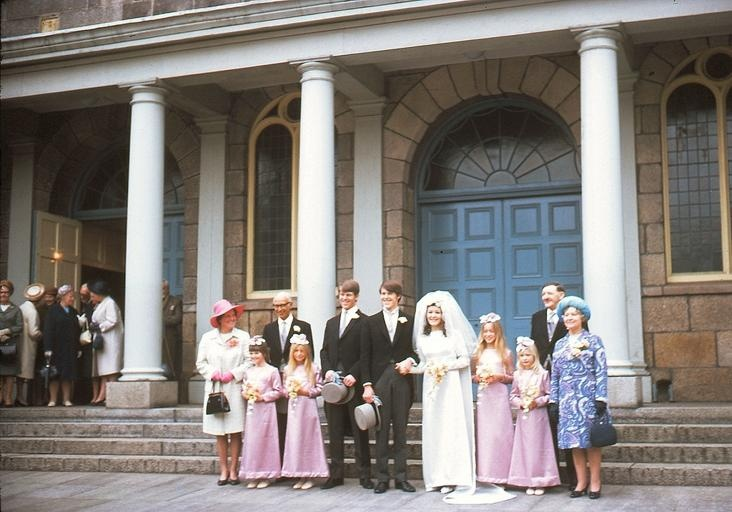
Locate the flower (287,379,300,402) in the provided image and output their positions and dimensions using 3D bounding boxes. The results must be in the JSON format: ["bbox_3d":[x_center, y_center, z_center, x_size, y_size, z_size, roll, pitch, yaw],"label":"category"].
[{"bbox_3d":[-0.920,1.656,12.069,0.199,0.246,0.209,13,-20,-40],"label":"flower"}]

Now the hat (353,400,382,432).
[{"bbox_3d":[-0.026,1.927,11.829,0.352,0.397,0.337,-8,-11,36],"label":"hat"}]

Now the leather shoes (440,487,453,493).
[{"bbox_3d":[0.964,2.805,11.628,0.053,0.066,0.166,5,10,34],"label":"leather shoes"}]

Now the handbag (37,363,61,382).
[{"bbox_3d":[-5.023,1.822,15.282,0.260,0.247,0.267,6,24,10],"label":"handbag"}]

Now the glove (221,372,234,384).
[{"bbox_3d":[-1.761,1.538,12.274,0.155,0.133,0.074,-1,-9,-5],"label":"glove"}]

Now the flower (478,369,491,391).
[{"bbox_3d":[1.428,1.508,11.721,0.143,0.269,0.217,-2,-9,1],"label":"flower"}]

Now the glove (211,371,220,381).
[{"bbox_3d":[-1.905,1.511,12.193,0.091,0.100,0.108,1,-13,-1],"label":"glove"}]

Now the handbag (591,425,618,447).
[{"bbox_3d":[2.719,2.053,11.100,0.295,0.246,0.152,2,-12,-37],"label":"handbag"}]

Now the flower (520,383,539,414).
[{"bbox_3d":[1.945,1.702,11.582,0.209,0.324,0.089,-6,-10,27],"label":"flower"}]

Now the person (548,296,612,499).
[{"bbox_3d":[2.514,1.653,11.440,0.668,2.344,0.501,-3,-9,12],"label":"person"}]

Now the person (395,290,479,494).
[{"bbox_3d":[0.949,1.630,11.763,0.831,2.416,0.411,-2,-9,5],"label":"person"}]

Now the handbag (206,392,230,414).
[{"bbox_3d":[-1.869,1.845,12.139,0.231,0.254,0.104,-4,-16,10],"label":"handbag"}]

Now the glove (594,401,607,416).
[{"bbox_3d":[2.724,1.761,11.226,0.146,0.158,0.146,-1,-5,37],"label":"glove"}]

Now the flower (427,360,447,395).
[{"bbox_3d":[0.868,1.447,11.758,0.217,0.358,0.311,9,14,6],"label":"flower"}]

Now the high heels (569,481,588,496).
[{"bbox_3d":[2.496,2.748,11.339,0.088,0.120,0.270,-13,-22,35],"label":"high heels"}]

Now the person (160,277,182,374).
[{"bbox_3d":[-3.305,1.265,16.497,0.282,1.649,0.506,-10,-13,43],"label":"person"}]

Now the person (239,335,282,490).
[{"bbox_3d":[-1.332,1.964,12.260,0.530,1.882,0.373,0,-9,-10],"label":"person"}]

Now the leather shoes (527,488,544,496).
[{"bbox_3d":[2.020,2.792,11.499,0.219,0.078,0.134,-2,-9,2],"label":"leather shoes"}]

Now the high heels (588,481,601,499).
[{"bbox_3d":[2.667,2.716,11.316,0.141,0.195,0.208,-3,-9,11],"label":"high heels"}]

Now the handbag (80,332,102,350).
[{"bbox_3d":[-4.362,1.330,15.354,0.277,0.266,0.112,-1,-14,6],"label":"handbag"}]

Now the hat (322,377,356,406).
[{"bbox_3d":[-0.359,1.670,11.987,0.375,0.325,0.325,-4,-9,14],"label":"hat"}]
